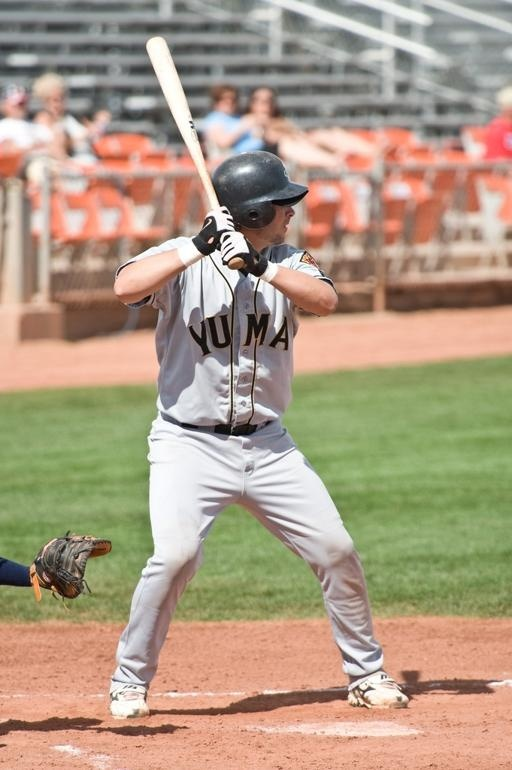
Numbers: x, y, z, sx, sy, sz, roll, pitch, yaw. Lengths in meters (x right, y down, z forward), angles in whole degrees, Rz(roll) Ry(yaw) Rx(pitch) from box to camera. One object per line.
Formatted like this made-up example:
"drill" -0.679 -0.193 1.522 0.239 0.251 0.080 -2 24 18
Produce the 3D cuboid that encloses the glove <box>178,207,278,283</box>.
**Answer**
"glove" -0.077 -0.362 2.679 0.214 0.173 0.056 1 -27 9

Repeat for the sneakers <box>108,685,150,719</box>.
"sneakers" -0.333 0.856 2.834 0.072 0.051 0.119 2 4 -10

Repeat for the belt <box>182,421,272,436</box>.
"belt" -0.074 0.118 2.848 0.260 0.034 0.070 0 6 -14

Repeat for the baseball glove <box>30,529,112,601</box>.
"baseball glove" -0.486 0.466 2.753 0.096 0.147 0.228 29 26 37

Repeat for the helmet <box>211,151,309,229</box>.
"helmet" 0.022 -0.549 2.922 0.287 0.186 0.199 7 29 30

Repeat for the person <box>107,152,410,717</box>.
"person" 0.003 0.163 2.885 0.783 1.611 0.392 1 8 -7

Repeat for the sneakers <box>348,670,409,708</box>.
"sneakers" 0.342 0.850 2.963 0.166 0.065 0.097 -3 9 -1
